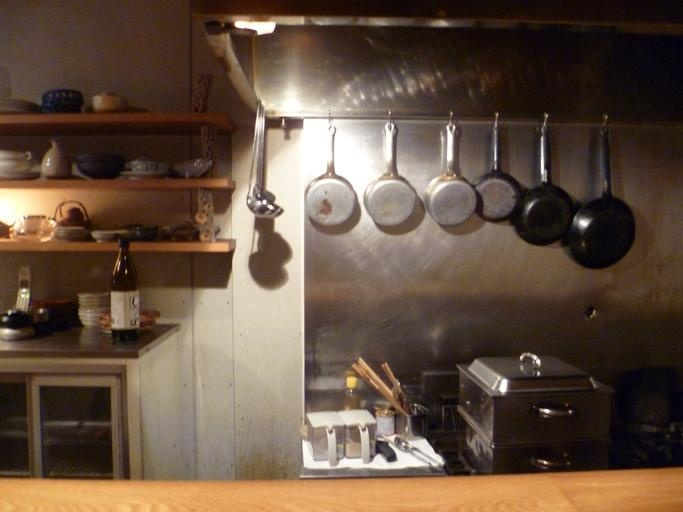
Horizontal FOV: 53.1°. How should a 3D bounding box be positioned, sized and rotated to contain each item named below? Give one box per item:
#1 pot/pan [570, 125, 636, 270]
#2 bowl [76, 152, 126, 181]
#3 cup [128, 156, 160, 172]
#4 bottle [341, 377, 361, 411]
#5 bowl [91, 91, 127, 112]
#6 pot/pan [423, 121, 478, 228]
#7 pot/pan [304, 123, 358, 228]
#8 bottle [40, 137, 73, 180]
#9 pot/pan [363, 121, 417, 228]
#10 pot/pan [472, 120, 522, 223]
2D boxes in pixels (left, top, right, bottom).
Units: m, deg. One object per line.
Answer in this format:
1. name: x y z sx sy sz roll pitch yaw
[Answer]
1. pot/pan: 1.301 -0.284 3.426 0.374 0.657 0.092 -5 7 -20
2. bowl: -1.234 -0.432 3.461 0.161 0.083 0.159 1 -1 0
3. cup: -1.013 -0.448 3.452 0.110 0.073 0.107 1 4 0
4. bottle: 0.046 0.683 3.428 0.078 0.166 0.092 0 -4 2
5. bowl: -1.174 -0.760 3.456 0.113 0.048 0.122 0 3 0
6. pot/pan: 0.533 -0.421 3.403 0.256 0.529 0.128 -1 -4 8
7. pot/pan: -0.059 -0.403 3.416 0.259 0.515 0.148 0 -4 1
8. bottle: -1.477 -0.502 3.531 0.148 0.201 0.144 4 5 0
9. pot/pan: 0.231 -0.409 3.397 0.248 0.505 0.149 0 -4 1
10. pot/pan: 0.779 -0.412 3.324 0.263 0.467 0.070 -4 9 -2
